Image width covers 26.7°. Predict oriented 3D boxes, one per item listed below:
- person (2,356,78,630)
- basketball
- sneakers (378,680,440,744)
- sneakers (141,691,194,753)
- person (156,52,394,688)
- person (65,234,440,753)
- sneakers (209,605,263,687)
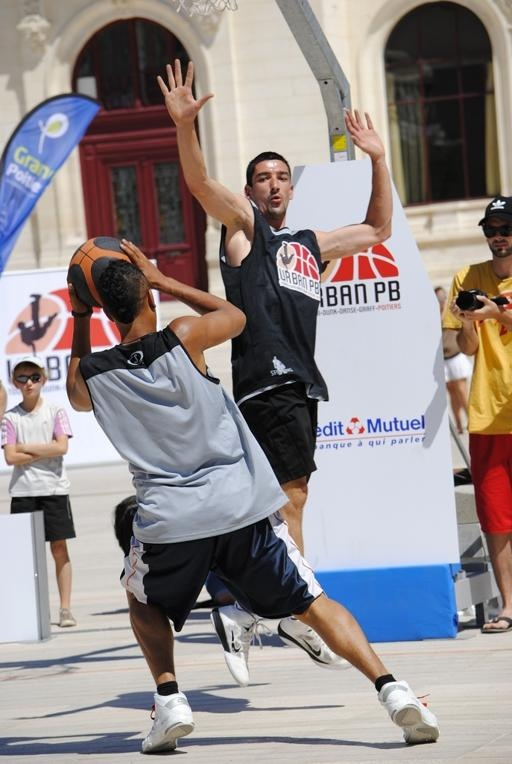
[{"bbox_3d":[-1.242,0.669,6.631,0.674,1.490,0.556,-3,12,-10],"label":"person"},{"bbox_3d":[-0.522,-0.360,3.364,0.162,0.241,0.161,-11,5,-44],"label":"basketball"},{"bbox_3d":[0.475,0.986,3.228,0.117,0.131,0.293,-33,-34,1],"label":"sneakers"},{"bbox_3d":[-0.284,1.056,3.337,0.158,0.148,0.272,-6,-3,-8],"label":"sneakers"},{"bbox_3d":[0.079,-0.026,4.308,1.067,2.403,1.058,0,15,0],"label":"person"},{"bbox_3d":[-0.090,0.345,3.306,0.883,1.188,0.443,-7,-3,-6],"label":"person"},{"bbox_3d":[-0.078,0.957,3.930,0.181,0.223,0.381,-2,0,-8],"label":"sneakers"}]
